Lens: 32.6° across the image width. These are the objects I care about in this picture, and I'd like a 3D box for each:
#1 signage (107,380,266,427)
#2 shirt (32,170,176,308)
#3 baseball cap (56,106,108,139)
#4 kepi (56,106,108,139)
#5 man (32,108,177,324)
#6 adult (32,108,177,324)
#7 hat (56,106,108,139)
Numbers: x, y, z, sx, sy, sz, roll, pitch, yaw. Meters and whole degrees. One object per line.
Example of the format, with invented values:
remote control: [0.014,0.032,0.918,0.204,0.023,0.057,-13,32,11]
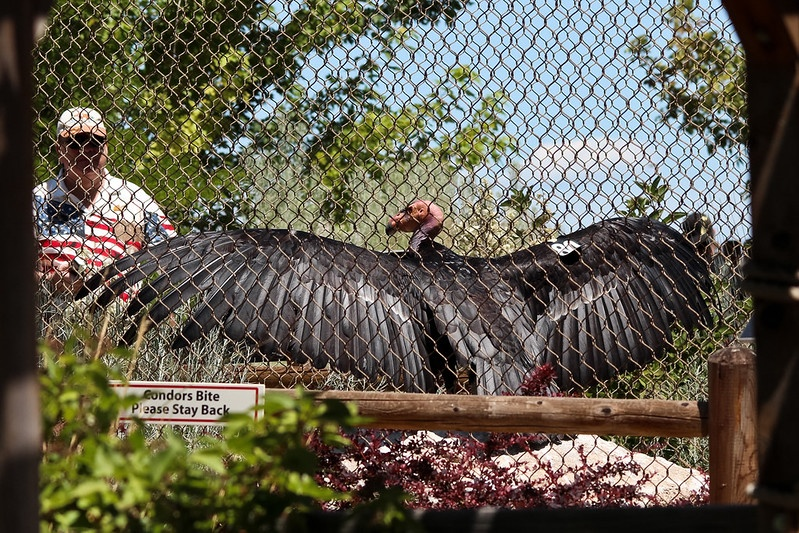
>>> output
signage: [-0.904,0.610,6.006,0.598,0.258,0.289,0,11,-6]
shirt: [-1.591,-0.176,7.155,0.720,0.747,1.118,-1,1,-13]
baseball cap: [-1.715,-0.764,7.343,0.233,0.179,0.365,-1,1,-19]
kepi: [-1.726,-0.741,7.383,0.233,0.179,0.365,-1,1,-19]
man: [-1.669,-0.254,7.273,0.963,1.164,0.645,-3,-9,-10]
adult: [-1.460,-0.263,7.244,0.750,1.123,0.873,0,0,-10]
hat: [-1.725,-0.766,7.370,0.233,0.179,0.365,-1,1,-19]
